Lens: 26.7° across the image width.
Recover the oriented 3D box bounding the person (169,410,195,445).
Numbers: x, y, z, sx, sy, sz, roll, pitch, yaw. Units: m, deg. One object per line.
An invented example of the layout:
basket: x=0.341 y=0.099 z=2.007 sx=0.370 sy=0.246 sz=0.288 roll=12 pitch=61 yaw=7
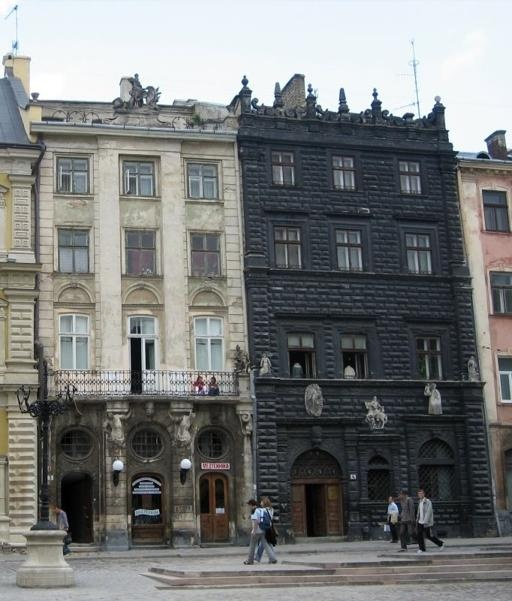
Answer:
person: x=-2.611 y=4.589 z=38.426 sx=0.880 sy=1.290 sz=0.534 roll=0 pitch=-11 yaw=-15

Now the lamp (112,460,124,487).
lamp: x=-4.770 y=5.991 z=37.287 sx=0.423 sy=0.932 sz=0.801 roll=-2 pitch=-10 yaw=-7

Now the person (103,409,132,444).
person: x=-4.849 y=4.509 z=37.670 sx=0.869 sy=1.244 sz=0.413 roll=-2 pitch=-10 yaw=-7

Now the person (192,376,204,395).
person: x=-2.055 y=3.091 z=39.194 sx=0.450 sy=0.758 sz=0.387 roll=1 pitch=-11 yaw=-22

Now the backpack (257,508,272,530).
backpack: x=0.173 y=5.302 z=25.956 sx=0.276 sy=0.495 sz=0.416 roll=-14 pitch=-16 yaw=25

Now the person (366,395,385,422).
person: x=4.468 y=4.183 z=40.801 sx=0.899 sy=1.114 sz=0.384 roll=4 pitch=-12 yaw=-34

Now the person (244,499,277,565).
person: x=0.066 y=5.672 z=26.378 sx=0.740 sy=1.566 sz=1.353 roll=-3 pitch=-10 yaw=-1

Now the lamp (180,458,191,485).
lamp: x=-2.518 y=6.064 z=38.049 sx=0.427 sy=0.926 sz=0.829 roll=-2 pitch=-10 yaw=-4

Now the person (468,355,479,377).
person: x=8.446 y=2.696 z=42.438 sx=0.283 sy=1.014 sz=0.630 roll=-8 pitch=-11 yaw=26

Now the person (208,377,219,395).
person: x=-1.581 y=3.139 z=39.299 sx=0.369 sy=0.734 sz=0.464 roll=-3 pitch=-10 yaw=-2

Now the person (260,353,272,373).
person: x=0.323 y=2.380 z=39.884 sx=0.317 sy=0.854 sz=0.495 roll=-8 pitch=-12 yaw=27
